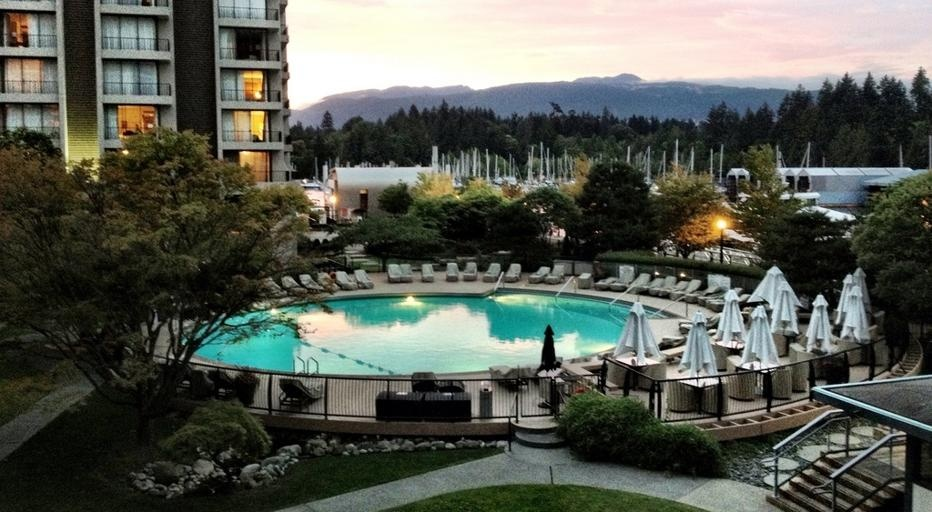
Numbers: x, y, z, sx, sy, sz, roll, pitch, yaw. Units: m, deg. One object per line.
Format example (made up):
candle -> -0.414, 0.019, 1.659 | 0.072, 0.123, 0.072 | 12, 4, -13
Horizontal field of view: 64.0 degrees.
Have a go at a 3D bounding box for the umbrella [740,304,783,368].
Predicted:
umbrella -> 15.103, 4.135, 38.181 | 1.628, 3.116, 1.734 | 1, 5, 36

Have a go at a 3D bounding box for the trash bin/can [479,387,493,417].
trash bin/can -> 0.970, 7.092, 36.163 | 0.640, 1.316, 0.679 | 0, 11, -1

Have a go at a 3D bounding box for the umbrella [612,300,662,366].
umbrella -> 9.107, 3.874, 38.646 | 2.318, 2.825, 1.609 | -8, -11, 38

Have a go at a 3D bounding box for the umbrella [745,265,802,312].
umbrella -> 18.342, 2.209, 43.263 | 2.791, 2.262, 3.374 | 0, 5, 16

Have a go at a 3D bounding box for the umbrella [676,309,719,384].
umbrella -> 11.707, 4.800, 37.389 | 1.713, 3.868, 3.595 | 4, 11, 16
